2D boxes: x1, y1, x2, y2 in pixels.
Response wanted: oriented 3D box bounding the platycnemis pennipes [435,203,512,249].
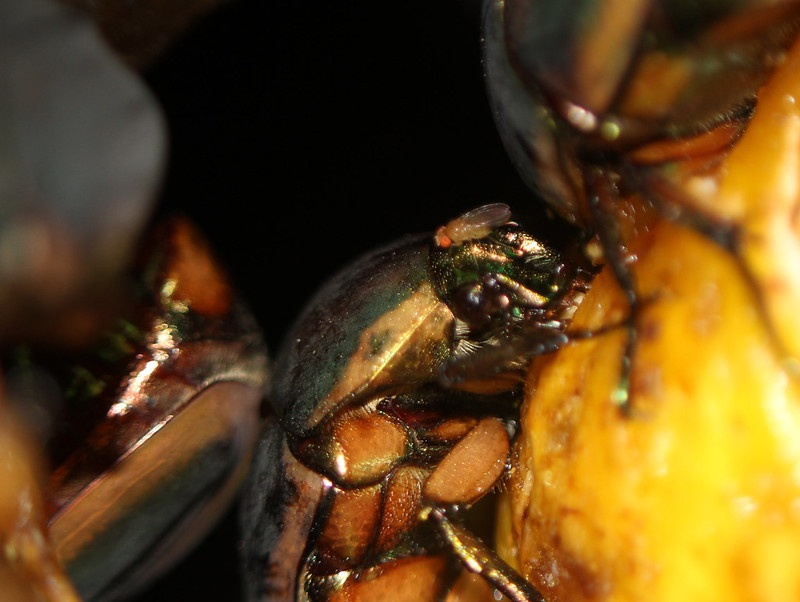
[{"bbox_3d":[0.100,-0.102,1.288,0.076,0.065,0.024,-20,18,17],"label":"platycnemis pennipes"}]
